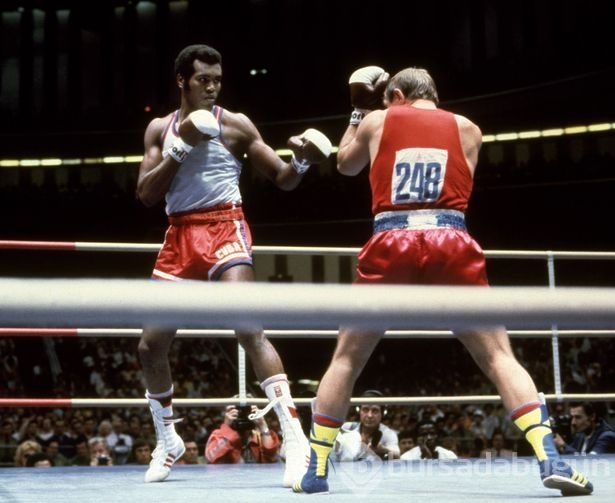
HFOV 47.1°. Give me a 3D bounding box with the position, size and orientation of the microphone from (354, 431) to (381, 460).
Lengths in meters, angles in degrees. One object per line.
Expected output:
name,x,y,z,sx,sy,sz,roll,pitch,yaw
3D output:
microphone,0.388,1.222,4.467,0.155,0.160,0.062,-6,-37,16

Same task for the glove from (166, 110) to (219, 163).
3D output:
glove,-0.449,-0.466,2.799,0.186,0.217,0.128,-1,4,-17

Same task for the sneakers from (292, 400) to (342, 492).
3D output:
sneakers,0.047,0.690,2.424,0.140,0.285,0.057,0,4,2

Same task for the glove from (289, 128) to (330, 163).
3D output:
glove,0.024,-0.439,2.866,0.164,0.088,0.125,5,-31,44

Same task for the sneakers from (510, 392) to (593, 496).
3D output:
sneakers,0.787,0.634,2.267,0.185,0.312,0.212,-3,5,-35
